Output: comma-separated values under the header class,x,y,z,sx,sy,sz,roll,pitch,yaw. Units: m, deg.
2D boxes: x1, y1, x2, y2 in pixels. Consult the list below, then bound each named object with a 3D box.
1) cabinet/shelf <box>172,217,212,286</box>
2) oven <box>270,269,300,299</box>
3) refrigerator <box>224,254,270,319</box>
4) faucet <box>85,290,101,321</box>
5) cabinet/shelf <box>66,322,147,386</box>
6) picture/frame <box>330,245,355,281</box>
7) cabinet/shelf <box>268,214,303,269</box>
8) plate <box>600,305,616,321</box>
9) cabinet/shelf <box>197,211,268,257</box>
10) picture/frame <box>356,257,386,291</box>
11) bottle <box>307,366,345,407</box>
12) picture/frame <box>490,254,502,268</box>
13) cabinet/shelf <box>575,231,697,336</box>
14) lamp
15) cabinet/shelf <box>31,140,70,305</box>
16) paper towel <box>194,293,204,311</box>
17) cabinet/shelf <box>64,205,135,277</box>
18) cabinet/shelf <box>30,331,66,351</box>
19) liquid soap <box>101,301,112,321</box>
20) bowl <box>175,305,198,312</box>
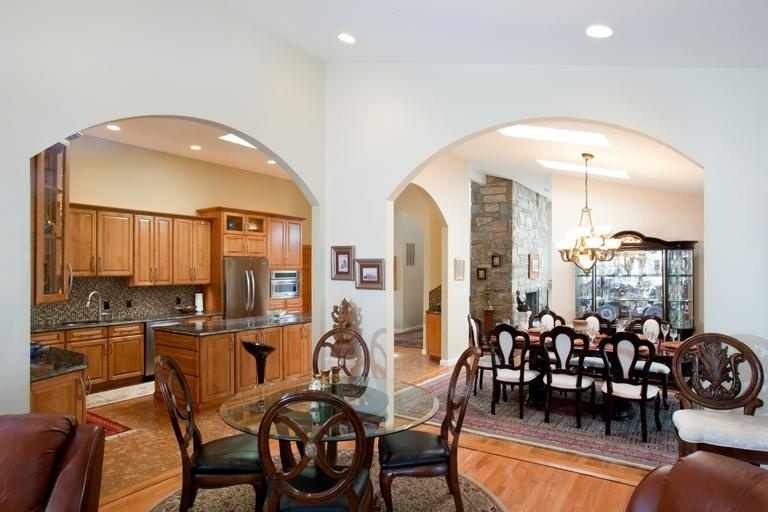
class,x,y,z,sx,sy,sz,roll,pitch,yaw
cabinet/shelf,-3.149,-0.087,8.363,0.186,1.089,0.758,5,9,31
oven,-1.856,0.529,9.467,0.443,0.549,0.767,4,1,41
refrigerator,-2.391,0.514,8.705,0.314,1.087,0.968,4,9,29
faucet,-4.309,0.728,7.543,0.208,0.431,0.165,-4,9,-27
cabinet/shelf,-3.742,1.295,6.792,0.493,0.763,0.963,-3,-4,31
picture/frame,-0.491,0.079,6.149,0.455,0.573,0.062,0,1,28
cabinet/shelf,-1.879,-0.274,9.518,0.442,0.983,1.101,1,-1,31
plate,3.889,0.993,8.827,0.246,0.234,0.239,-8,11,-33
cabinet/shelf,-2.649,-0.391,8.677,0.361,0.673,0.829,-4,-6,37
picture/frame,-0.145,0.208,5.988,0.406,0.388,0.031,1,2,30
bottle,-0.479,1.046,4.251,0.280,0.264,0.176,-1,0,2
picture/frame,2.276,0.067,10.390,0.321,0.305,0.233,2,4,32
cabinet/shelf,4.209,0.430,8.313,1.840,2.209,0.749,-1,-4,31
lamp,3.320,-0.597,8.161,0.947,1.990,2.703,3,8,24
cabinet/shelf,-2.984,-0.308,4.580,0.210,1.449,0.723,-3,8,-17
paper towel,-3.106,0.782,8.528,0.131,0.297,0.189,-3,8,-19
cabinet/shelf,-3.985,-0.216,7.060,0.466,1.005,1.105,0,-2,33
cabinet/shelf,-4.376,1.097,6.639,0.367,0.270,0.084,-5,10,-36
liquid soap,-4.170,0.807,7.642,0.137,0.258,0.169,-4,9,-28
bowl,-3.287,0.873,8.446,0.290,0.094,0.268,0,6,0
